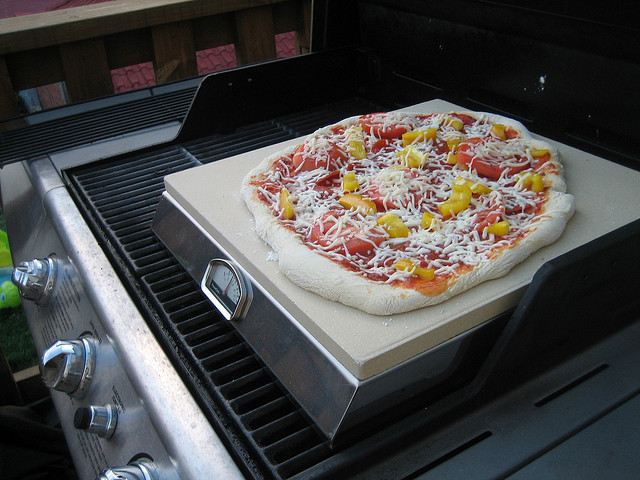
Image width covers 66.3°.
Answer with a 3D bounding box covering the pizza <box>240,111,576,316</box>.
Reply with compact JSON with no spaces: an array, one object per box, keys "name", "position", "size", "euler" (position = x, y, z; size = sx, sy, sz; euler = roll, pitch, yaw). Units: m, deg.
[{"name":"pizza","position":[0.215,-0.195,1.096],"size":[0.583,0.075,0.658],"euler":[-27,38,-17]}]
